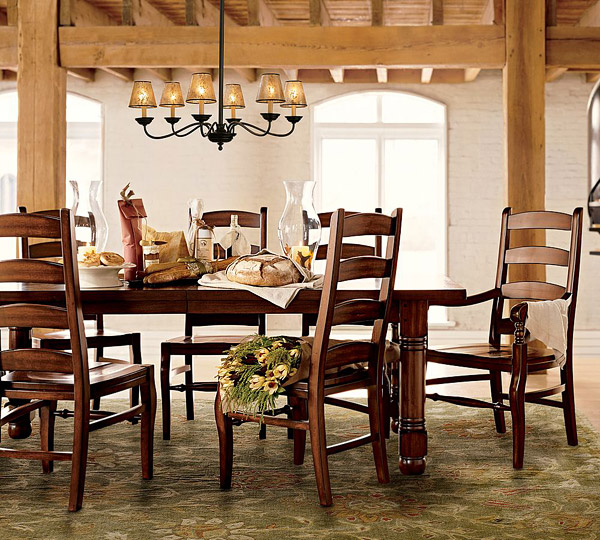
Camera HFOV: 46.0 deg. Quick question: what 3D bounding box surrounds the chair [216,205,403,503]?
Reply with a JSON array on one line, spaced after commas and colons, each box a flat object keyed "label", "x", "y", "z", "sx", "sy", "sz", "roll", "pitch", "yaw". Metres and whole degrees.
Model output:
[{"label": "chair", "x": 0.016, "y": 0.315, "z": 2.705, "sx": 0.655, "sy": 0.903, "sz": 0.594, "roll": -6, "pitch": -4, "yaw": 33}]

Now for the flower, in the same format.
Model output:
[{"label": "flower", "x": -0.139, "y": 0.380, "z": 2.549, "sx": 0.314, "sy": 0.279, "sz": 0.232, "roll": 0, "pitch": 4, "yaw": 8}]

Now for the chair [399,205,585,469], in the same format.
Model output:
[{"label": "chair", "x": 0.903, "y": 0.258, "z": 3.184, "sx": 0.774, "sy": 0.985, "sz": 0.689, "roll": -3, "pitch": 2, "yaw": -22}]

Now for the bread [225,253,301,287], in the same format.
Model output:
[{"label": "bread", "x": -0.148, "y": -0.028, "z": 2.726, "sx": 0.285, "sy": 0.070, "sz": 0.270, "roll": -2, "pitch": 23, "yaw": -13}]
